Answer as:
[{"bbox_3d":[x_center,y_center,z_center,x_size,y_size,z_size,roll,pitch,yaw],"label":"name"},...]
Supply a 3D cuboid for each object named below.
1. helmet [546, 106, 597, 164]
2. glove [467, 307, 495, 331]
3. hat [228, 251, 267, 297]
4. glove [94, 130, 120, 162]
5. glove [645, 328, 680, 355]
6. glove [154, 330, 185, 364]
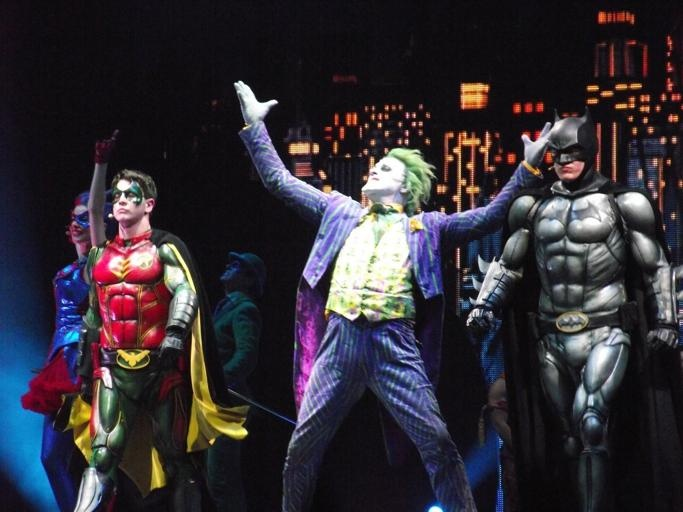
[{"bbox_3d":[1.407,-0.723,5.447,0.216,0.313,0.322,-3,-7,36],"label":"helmet"},{"bbox_3d":[0.845,0.382,5.493,0.149,0.154,0.117,13,7,-37],"label":"glove"},{"bbox_3d":[-0.640,0.111,6.379,0.119,0.309,0.211,-23,7,-26],"label":"hat"},{"bbox_3d":[-1.603,-0.740,6.141,0.137,0.214,0.282,-2,9,-15],"label":"glove"},{"bbox_3d":[1.874,0.486,5.254,0.171,0.170,0.213,2,9,12],"label":"glove"},{"bbox_3d":[-1.077,0.558,5.608,0.157,0.248,0.136,12,5,-2],"label":"glove"}]
